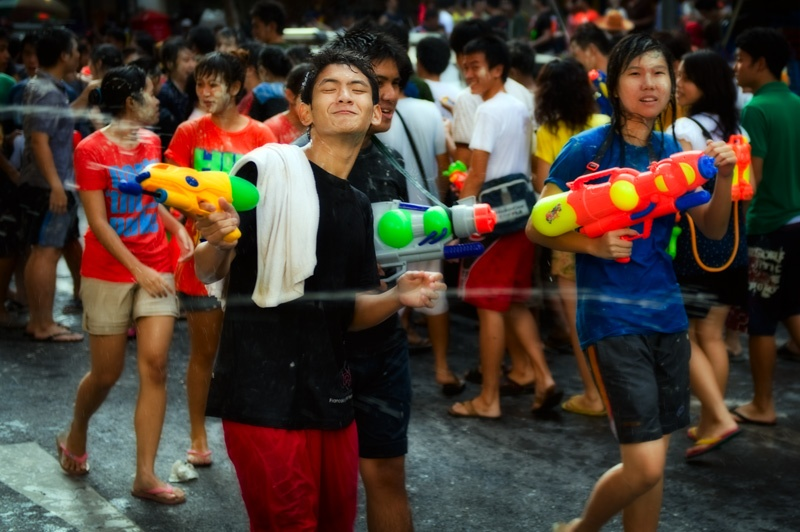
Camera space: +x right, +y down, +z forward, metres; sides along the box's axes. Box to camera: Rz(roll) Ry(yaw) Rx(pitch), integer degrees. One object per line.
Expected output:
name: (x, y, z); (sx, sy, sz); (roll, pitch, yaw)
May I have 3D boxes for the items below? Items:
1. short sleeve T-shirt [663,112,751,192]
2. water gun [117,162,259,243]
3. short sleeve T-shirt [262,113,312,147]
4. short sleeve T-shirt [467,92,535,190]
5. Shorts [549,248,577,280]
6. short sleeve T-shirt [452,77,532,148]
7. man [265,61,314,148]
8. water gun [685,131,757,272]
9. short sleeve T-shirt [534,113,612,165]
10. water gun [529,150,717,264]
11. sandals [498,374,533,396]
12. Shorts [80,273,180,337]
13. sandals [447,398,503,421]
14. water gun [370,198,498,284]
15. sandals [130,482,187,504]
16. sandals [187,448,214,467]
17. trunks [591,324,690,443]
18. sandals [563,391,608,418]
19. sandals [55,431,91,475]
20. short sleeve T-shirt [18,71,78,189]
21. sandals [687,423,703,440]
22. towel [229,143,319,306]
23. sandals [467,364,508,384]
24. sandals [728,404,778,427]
short sleeve T-shirt: (2.240, -0.852, 5.301); (0.517, 0.517, 0.289); (-12, -36, 12)
water gun: (-1.060, -0.304, 3.680); (0.696, 0.384, 0.170); (19, -35, -12)
short sleeve T-shirt: (-0.991, -1.092, 6.157); (0.264, 0.272, 0.150); (-2, -7, 39)
short sleeve T-shirt: (0.851, -1.038, 5.947); (0.621, 0.654, 0.326); (-16, 22, -31)
Shorts: (1.305, -0.017, 6.116); (0.216, 0.251, 0.227); (4, 8, 3)
short sleeve T-shirt: (0.730, -1.213, 6.039); (0.626, 0.471, 0.332); (-12, 11, -12)
man: (-0.942, -1.265, 6.068); (0.607, 0.529, 0.296); (-5, 36, -33)
water gun: (1.975, -0.482, 4.709); (0.563, 1.011, 0.136); (5, -1, -44)
short sleeve T-shirt: (1.320, -1.032, 5.842); (0.529, 0.306, 0.488); (-4, -1, -15)
water gun: (1.136, -0.361, 3.879); (0.918, 0.464, 0.282); (3, 4, 14)
sandals: (0.926, 1.000, 6.167); (0.308, 0.097, 0.115); (1, -2, -5)
Shorts: (-1.699, 0.273, 4.692); (0.596, 0.573, 0.343); (0, -11, -23)
sandals: (0.577, 1.094, 5.715); (0.375, 0.110, 0.157); (5, 7, -1)
water gun: (0.248, -0.149, 4.229); (0.879, 0.504, 0.327); (-4, 12, -2)
sandals: (-1.468, 1.369, 4.591); (0.239, 0.071, 0.140); (2, 6, 15)
sandals: (-1.322, 1.275, 4.946); (0.151, 0.096, 0.056); (3, -2, -16)
trunks: (1.263, 0.622, 3.874); (0.584, 0.550, 0.267); (1, 4, -8)
sandals: (1.391, 1.044, 5.747); (0.267, 0.087, 0.153); (8, 11, 39)
sandals: (-2.114, 1.215, 4.908); (0.217, 0.102, 0.423); (16, 17, -35)
short sleeve T-shirt: (-3.093, -1.270, 6.695); (0.367, 0.854, 0.655); (1, 35, -18)
sandals: (2.035, 1.163, 5.258); (0.064, 0.044, 0.120); (2, 14, 19)
towel: (-0.511, -0.178, 3.206); (0.355, 0.678, 0.218); (-2, 2, 1)
sandals: (0.783, 0.939, 6.393); (0.407, 0.185, 0.151); (1, 9, 26)
sandals: (2.589, 1.099, 5.558); (0.321, 0.092, 0.136); (8, 4, 22)
